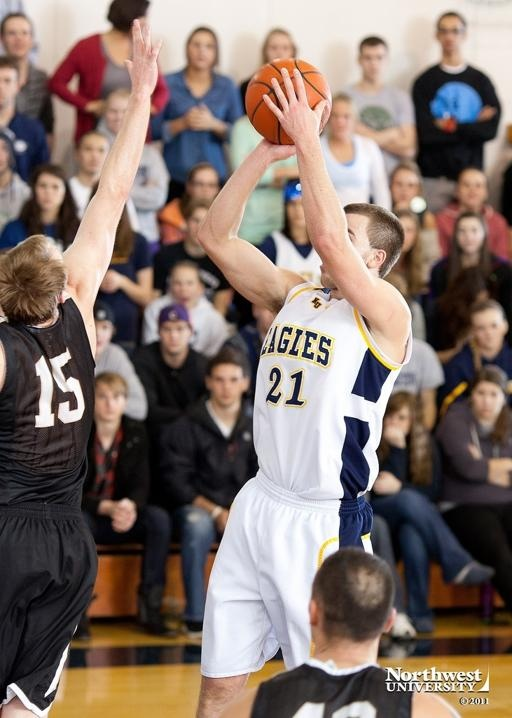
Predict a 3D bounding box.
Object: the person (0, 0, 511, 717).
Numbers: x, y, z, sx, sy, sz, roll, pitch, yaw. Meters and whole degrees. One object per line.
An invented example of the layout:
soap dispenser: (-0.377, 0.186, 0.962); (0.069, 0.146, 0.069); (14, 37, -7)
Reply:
person: (-0.106, 0.020, 3.118); (1.492, 1.922, 0.588); (3, 1, 7)

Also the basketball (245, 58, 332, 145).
basketball: (0.083, -0.785, 2.893); (0.293, 0.318, 0.269); (4, 3, 4)
